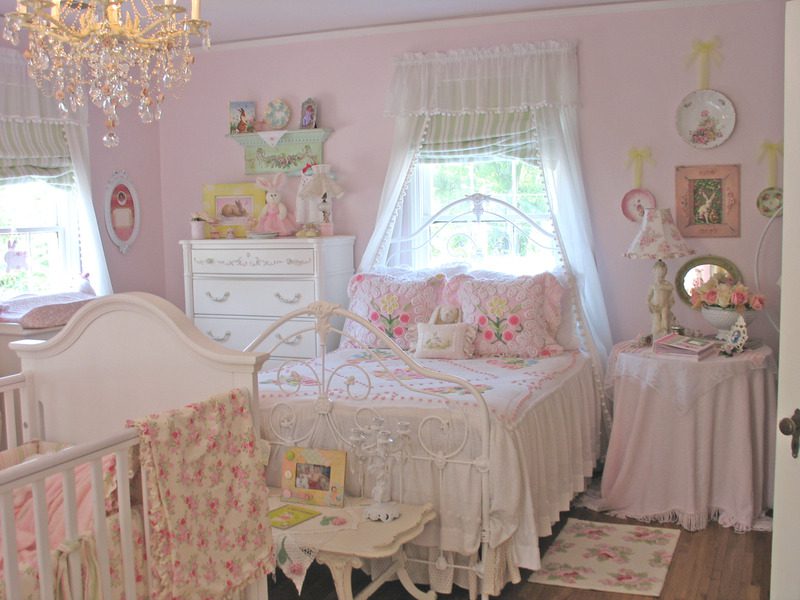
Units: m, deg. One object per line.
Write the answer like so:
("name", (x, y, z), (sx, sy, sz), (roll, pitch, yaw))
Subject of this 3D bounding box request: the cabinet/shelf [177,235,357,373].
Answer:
("cabinet/shelf", (-0.980, 0.133, 4.959), (1.190, 1.268, 0.584), (1, 8, 17))

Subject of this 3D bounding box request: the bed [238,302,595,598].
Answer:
("bed", (0.250, 0.514, 3.401), (1.421, 1.149, 1.460), (3, 5, 29))

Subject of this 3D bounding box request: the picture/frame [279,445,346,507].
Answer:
("picture/frame", (-0.379, 0.767, 2.864), (0.211, 0.197, 0.024), (-1, -12, 16))

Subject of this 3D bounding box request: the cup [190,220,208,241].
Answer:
("cup", (-1.534, -0.542, 5.072), (0.120, 0.146, 0.134), (-1, 1, -3))

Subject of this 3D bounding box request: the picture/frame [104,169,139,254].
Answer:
("picture/frame", (-2.108, -0.672, 4.984), (0.036, 0.599, 0.328), (3, 12, 23))

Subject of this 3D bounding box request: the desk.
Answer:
("desk", (1.595, 0.784, 3.734), (0.730, 0.784, 0.852), (6, -6, -43))

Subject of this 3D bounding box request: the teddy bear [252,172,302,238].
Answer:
("teddy bear", (-0.935, -0.704, 4.895), (0.301, 0.439, 0.269), (0, 13, 1))

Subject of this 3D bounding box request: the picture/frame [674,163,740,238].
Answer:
("picture/frame", (1.895, -0.616, 4.031), (0.444, 0.587, 0.044), (1, 2, 25))

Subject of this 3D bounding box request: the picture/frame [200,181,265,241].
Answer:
("picture/frame", (-1.267, -0.680, 5.045), (0.470, 0.427, 0.053), (1, 1, 16))

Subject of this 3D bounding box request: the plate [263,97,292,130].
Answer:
("plate", (-0.919, -1.358, 4.892), (0.189, 0.227, 0.063), (4, -1, 23))

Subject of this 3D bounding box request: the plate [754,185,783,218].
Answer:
("plate", (2.199, -0.586, 3.929), (0.129, 0.178, 0.065), (6, 13, 35))
